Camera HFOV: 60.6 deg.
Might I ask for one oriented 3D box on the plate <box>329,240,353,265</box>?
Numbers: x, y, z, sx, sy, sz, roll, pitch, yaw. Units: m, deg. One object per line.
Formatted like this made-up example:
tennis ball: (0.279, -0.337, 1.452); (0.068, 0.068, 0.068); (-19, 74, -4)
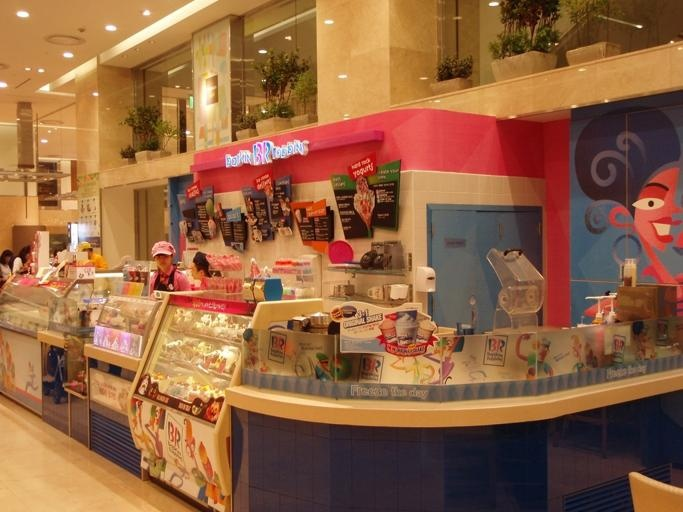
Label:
plate: (-0.007, -0.045, 7.145); (0.298, 0.289, 0.214); (-2, 3, 21)

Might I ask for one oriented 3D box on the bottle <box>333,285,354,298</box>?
bottle: (0.030, 0.412, 6.834); (0.161, 0.105, 0.168); (0, 3, 0)

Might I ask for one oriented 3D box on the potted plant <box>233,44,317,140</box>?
potted plant: (-1.073, -2.795, 9.603); (0.708, 1.593, 1.827); (-5, 3, -37)

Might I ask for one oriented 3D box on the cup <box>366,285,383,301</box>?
cup: (0.343, 0.379, 5.795); (0.163, 0.122, 0.121); (1, 2, 34)

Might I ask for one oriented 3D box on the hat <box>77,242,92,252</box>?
hat: (-4.197, -0.148, 9.573); (0.224, 0.172, 0.312); (-11, 9, -36)

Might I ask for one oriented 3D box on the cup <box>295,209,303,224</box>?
cup: (-0.561, -0.535, 7.824); (0.091, 0.172, 0.098); (-19, -27, -10)

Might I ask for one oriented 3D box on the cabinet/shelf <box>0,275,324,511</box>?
cabinet/shelf: (-1.178, 1.139, 4.742); (0.631, 1.199, 1.835); (-5, 3, -44)
